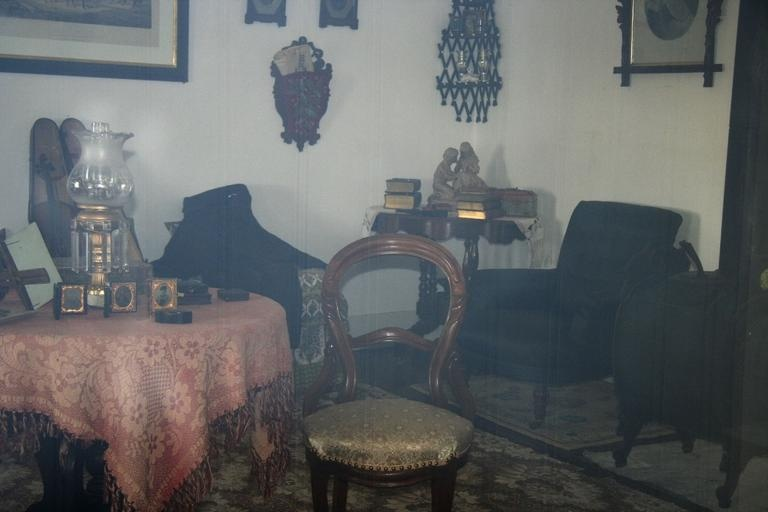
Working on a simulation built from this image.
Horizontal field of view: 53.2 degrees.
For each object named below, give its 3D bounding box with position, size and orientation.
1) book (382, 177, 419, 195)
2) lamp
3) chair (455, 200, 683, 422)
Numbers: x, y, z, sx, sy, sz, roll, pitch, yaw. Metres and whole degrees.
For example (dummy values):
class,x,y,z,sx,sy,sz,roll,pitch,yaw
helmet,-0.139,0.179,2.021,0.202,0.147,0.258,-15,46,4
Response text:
class,x,y,z,sx,sy,sz,roll,pitch,yaw
book,0.127,-0.426,4.665,0.241,0.091,0.123,-4,9,-16
lamp,-1.245,-0.186,3.245,0.469,0.738,0.262,7,13,41
chair,1.072,0.248,4.104,1.114,1.218,1.004,0,4,-30
